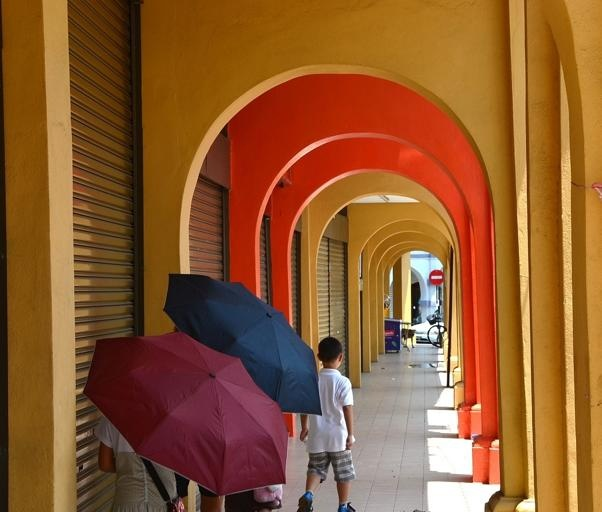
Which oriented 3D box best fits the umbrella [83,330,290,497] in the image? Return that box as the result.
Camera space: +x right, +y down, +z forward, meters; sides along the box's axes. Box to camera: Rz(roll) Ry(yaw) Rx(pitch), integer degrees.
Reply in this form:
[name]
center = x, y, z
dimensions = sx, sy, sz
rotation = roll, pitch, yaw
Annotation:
[umbrella]
center = -0.542, 0.724, 2.826
dimensions = 0.953, 0.685, 0.598
rotation = -1, -3, -4
